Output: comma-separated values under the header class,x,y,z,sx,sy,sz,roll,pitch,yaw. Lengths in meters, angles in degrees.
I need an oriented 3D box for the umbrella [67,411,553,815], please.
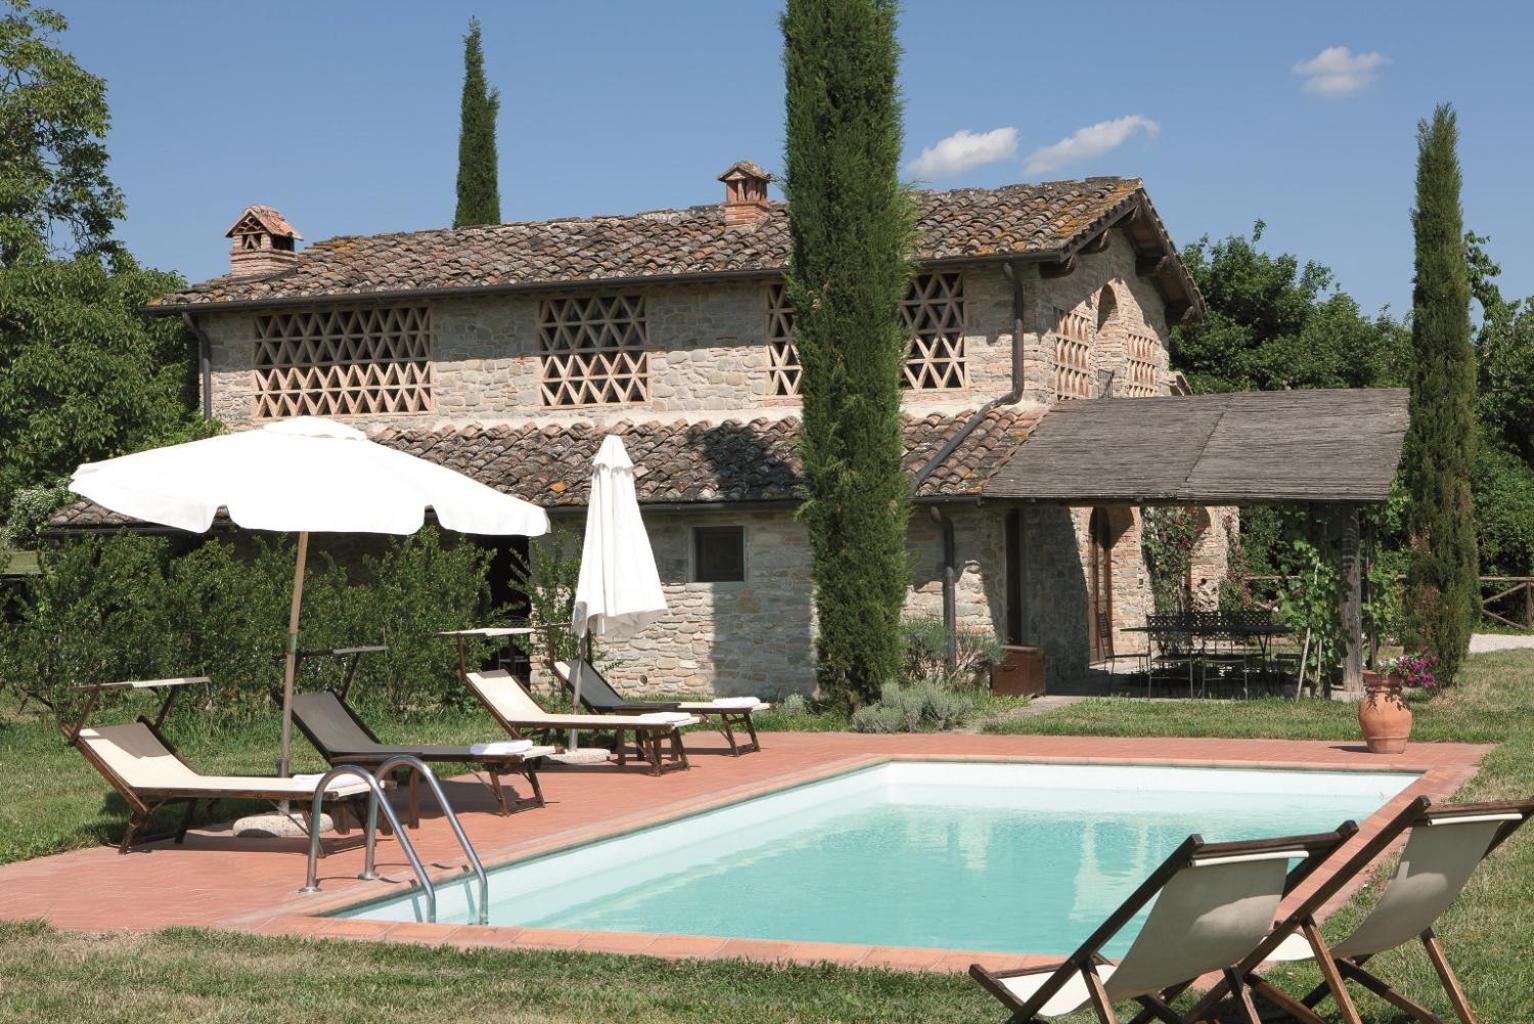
class,x,y,z,sx,sy,sz,roll,pitch,yaw
umbrella,-5.149,1.474,20.093,5.729,4.896,5.721,2,-3,11
